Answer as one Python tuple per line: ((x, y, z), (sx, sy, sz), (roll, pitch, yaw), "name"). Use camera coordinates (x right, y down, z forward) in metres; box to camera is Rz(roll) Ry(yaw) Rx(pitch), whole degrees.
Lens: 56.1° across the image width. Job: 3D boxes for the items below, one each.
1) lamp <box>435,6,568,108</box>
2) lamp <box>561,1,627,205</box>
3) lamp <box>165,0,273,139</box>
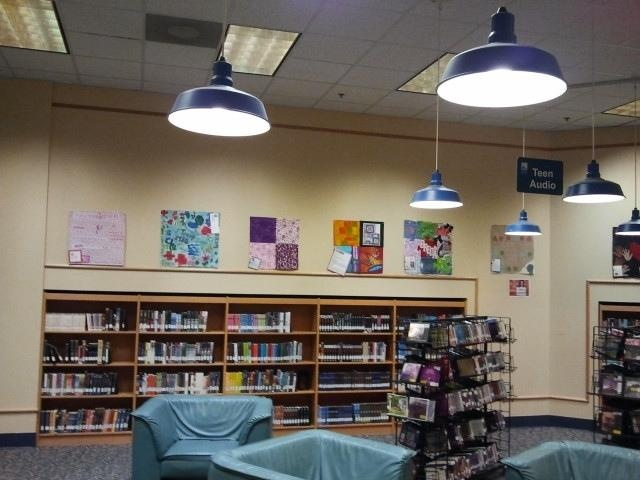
((1.310, -1.201, 4.621), (0.757, 0.569, 0.804), (2, -12, 1), "lamp")
((3.698, -1.374, 8.145), (0.729, 2.045, 3.915), (-1, -3, 26), "lamp")
((-0.787, -1.315, 5.197), (0.734, 1.416, 0.784), (-2, -17, 5), "lamp")
